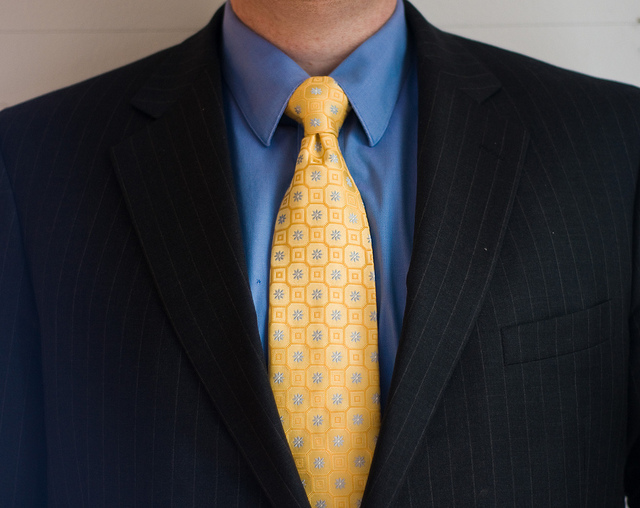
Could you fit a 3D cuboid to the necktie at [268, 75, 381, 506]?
[{"bbox_3d":[-0.002,0.053,1.359,0.197,0.757,0.091,-4,-15,-6],"label":"necktie"}]
